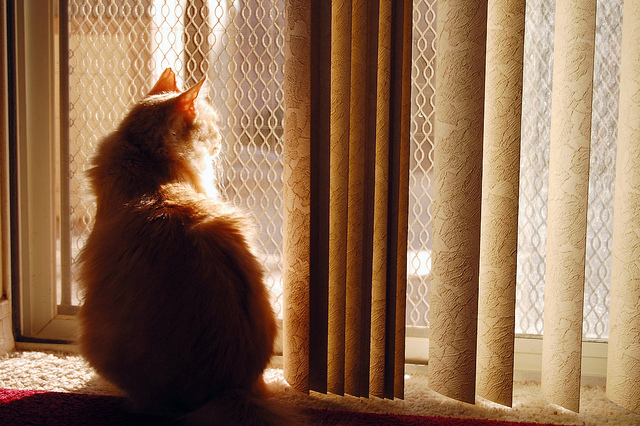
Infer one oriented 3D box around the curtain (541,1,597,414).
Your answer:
[{"bbox_3d":[0.801,-0.019,2.576,0.135,1.318,0.229,3,-5,19],"label":"curtain"}]
